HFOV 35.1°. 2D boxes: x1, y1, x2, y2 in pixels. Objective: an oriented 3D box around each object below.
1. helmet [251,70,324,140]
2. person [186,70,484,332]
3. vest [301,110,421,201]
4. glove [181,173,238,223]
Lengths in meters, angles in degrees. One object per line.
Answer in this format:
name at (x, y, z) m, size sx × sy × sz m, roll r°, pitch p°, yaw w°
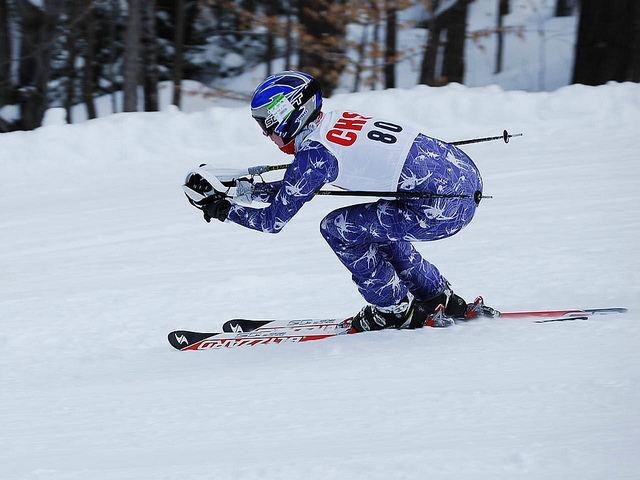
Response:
helmet at (-0.237, -0.955, 7.064) m, size 0.686 × 0.382 × 0.413 m, roll -14°, pitch 17°, yaw 3°
person at (0.222, -0.239, 7.205) m, size 1.813 × 1.897 × 0.486 m, roll 2°, pitch 11°, yaw 5°
vest at (0.252, -0.654, 7.324) m, size 0.747 × 0.601 × 0.894 m, roll 10°, pitch 20°, yaw 43°
glove at (-0.792, -0.291, 7.130) m, size 0.495 × 0.245 × 0.208 m, roll 28°, pitch 2°, yaw 5°
